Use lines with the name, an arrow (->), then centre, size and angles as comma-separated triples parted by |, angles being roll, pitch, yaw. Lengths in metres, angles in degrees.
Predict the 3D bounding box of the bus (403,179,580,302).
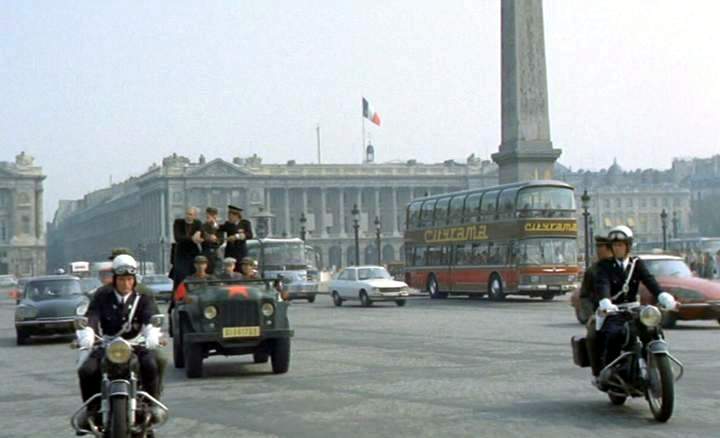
bus -> 5.312, 1.159, 46.559 | 3.178, 4.566, 11.301 | -1, -4, -20

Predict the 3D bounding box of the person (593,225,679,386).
person -> 4.587, 1.317, 18.273 | 1.046, 2.905, 1.350 | 0, 0, 6

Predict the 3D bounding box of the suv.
suv -> -2.754, 1.895, 22.446 | 3.137, 2.446, 5.360 | 1, -7, -15

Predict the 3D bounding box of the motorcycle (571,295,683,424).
motorcycle -> 4.536, 2.350, 18.120 | 1.636, 1.896, 0.959 | -5, -4, 33

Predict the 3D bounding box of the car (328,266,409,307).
car -> 0.413, 2.630, 42.660 | 1.421, 1.569, 3.585 | -1, -4, -29

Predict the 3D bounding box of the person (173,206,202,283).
person -> -3.540, 0.574, 22.621 | 0.601, 1.693, 0.517 | 0, 0, -28

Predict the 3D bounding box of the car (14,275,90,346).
car -> -8.365, 2.427, 29.129 | 2.490, 1.767, 5.292 | 0, -2, -20

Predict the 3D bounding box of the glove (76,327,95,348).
glove -> -4.129, 1.772, 16.350 | 0.253, 0.274, 0.298 | 0, -6, -4

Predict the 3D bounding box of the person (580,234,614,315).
person -> 4.037, 0.974, 18.514 | 0.460, 1.398, 0.407 | 0, 0, 10

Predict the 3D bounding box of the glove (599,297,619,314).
glove -> 4.109, 1.424, 17.920 | 0.299, 0.233, 0.254 | -3, -3, 11

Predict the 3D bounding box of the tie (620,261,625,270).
tie -> 4.418, 0.781, 18.198 | 0.091, 0.116, 0.030 | -9, -8, -1

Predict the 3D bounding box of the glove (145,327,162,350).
glove -> -3.145, 1.792, 16.502 | 0.241, 0.291, 0.107 | 3, -3, -3

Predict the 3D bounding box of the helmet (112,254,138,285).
helmet -> -3.633, 0.764, 16.810 | 0.359, 0.328, 0.429 | 4, -9, -23

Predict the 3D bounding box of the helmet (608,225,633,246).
helmet -> 4.413, 0.281, 18.334 | 0.299, 0.291, 0.386 | -5, -26, 36
